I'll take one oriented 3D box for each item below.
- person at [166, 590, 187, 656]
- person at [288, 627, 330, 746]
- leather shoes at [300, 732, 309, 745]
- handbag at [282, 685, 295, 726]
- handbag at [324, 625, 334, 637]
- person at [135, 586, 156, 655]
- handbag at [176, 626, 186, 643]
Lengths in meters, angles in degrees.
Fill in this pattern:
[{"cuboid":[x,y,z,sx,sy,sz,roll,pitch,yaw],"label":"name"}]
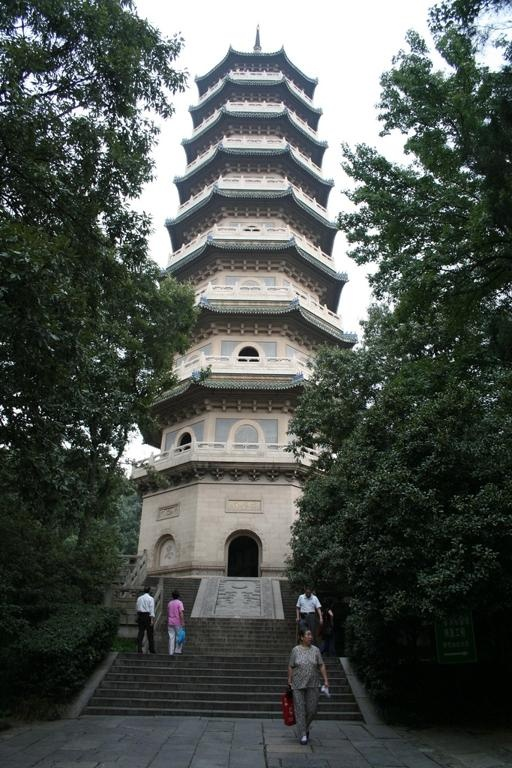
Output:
[{"cuboid":[-1.330,4.051,9.658,0.247,0.790,0.274,14,-18,-41],"label":"person"},{"cuboid":[0.498,3.098,5.941,0.327,1.141,0.574,-1,-14,13],"label":"person"},{"cuboid":[0.472,3.557,5.824,0.062,0.128,0.188,5,-19,5],"label":"leather shoes"},{"cuboid":[0.330,3.249,5.843,0.117,0.356,0.164,-2,-14,16],"label":"handbag"},{"cuboid":[1.268,4.396,10.306,0.151,0.144,0.247,0,6,3],"label":"handbag"},{"cuboid":[-1.869,4.052,9.994,0.309,1.075,0.852,5,-14,-10],"label":"person"},{"cuboid":[-1.223,4.205,9.693,0.102,0.283,0.231,-1,-14,14],"label":"handbag"}]
